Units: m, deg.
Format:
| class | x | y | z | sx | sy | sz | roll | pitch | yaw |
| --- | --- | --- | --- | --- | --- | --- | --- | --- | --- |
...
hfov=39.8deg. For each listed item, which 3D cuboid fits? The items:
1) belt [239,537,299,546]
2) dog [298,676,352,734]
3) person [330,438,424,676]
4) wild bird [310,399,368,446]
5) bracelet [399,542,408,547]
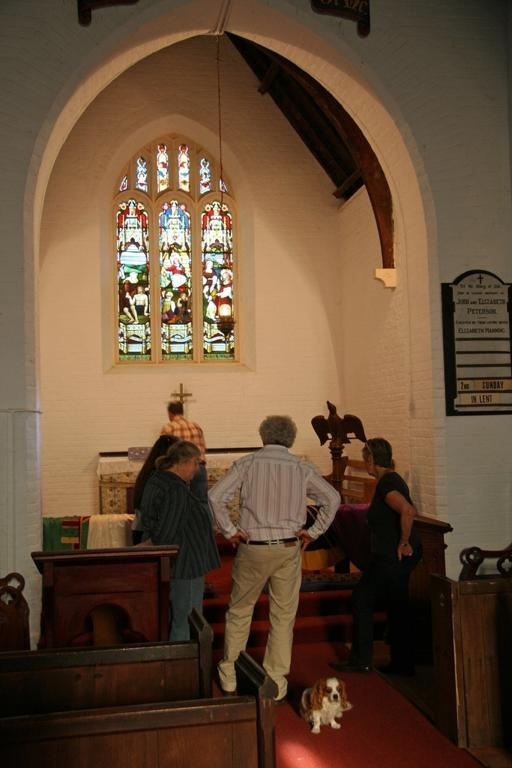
| class | x | y | z | sx | sy | sz | roll | pitch | yaw |
| --- | --- | --- | --- | --- | --- | --- | --- | --- | --- |
| belt | 0.070 | 0.838 | 3.747 | 0.296 | 0.045 | 0.092 | 4 | 0 | -1 |
| dog | 0.382 | 1.625 | 3.682 | 0.235 | 0.288 | 0.307 | 3 | 3 | 4 |
| person | 0.778 | 1.071 | 4.357 | 0.460 | 1.329 | 0.496 | 4 | -1 | 13 |
| wild bird | 0.939 | 0.440 | 7.855 | 0.322 | 0.401 | 0.615 | 14 | -13 | -32 |
| bracelet | 0.869 | 0.943 | 4.149 | 0.038 | 0.036 | 0.023 | 6 | -9 | 3 |
